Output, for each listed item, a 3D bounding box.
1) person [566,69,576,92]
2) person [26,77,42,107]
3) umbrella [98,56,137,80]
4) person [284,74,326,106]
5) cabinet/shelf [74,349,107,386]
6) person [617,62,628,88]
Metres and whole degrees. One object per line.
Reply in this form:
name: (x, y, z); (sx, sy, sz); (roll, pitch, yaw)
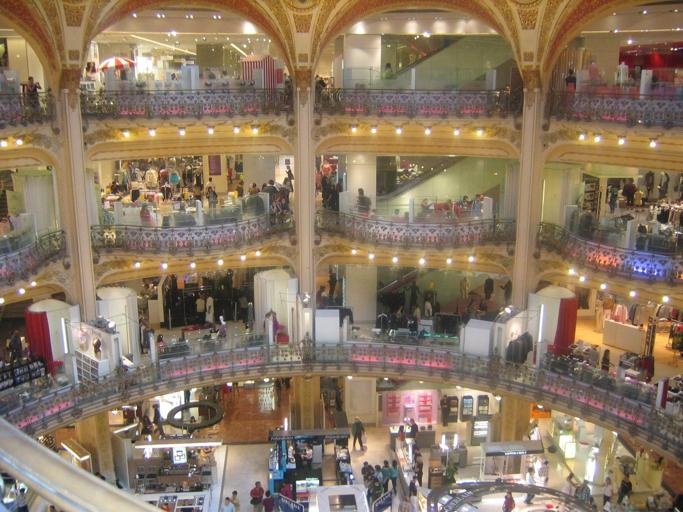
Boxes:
person: (7.549, -5.777, 19.246); (0.308, 0.880, 0.925); (1, 5, 21)
person: (-9.756, -5.192, 18.470); (0.394, 1.161, 1.294); (-4, 5, -28)
umbrella: (-7.850, -6.679, 20.368); (1.116, 0.602, 0.569); (-4, 5, -25)
person: (-1.365, -6.177, 21.687); (1.538, 1.192, 1.074); (-2, 5, -5)
cabinet/shelf: (-8.130, 3.617, 18.849); (1.254, 0.886, 0.676); (1, 5, 29)
person: (8.562, -5.493, 17.743); (0.309, 0.712, 0.756); (1, 5, 26)
